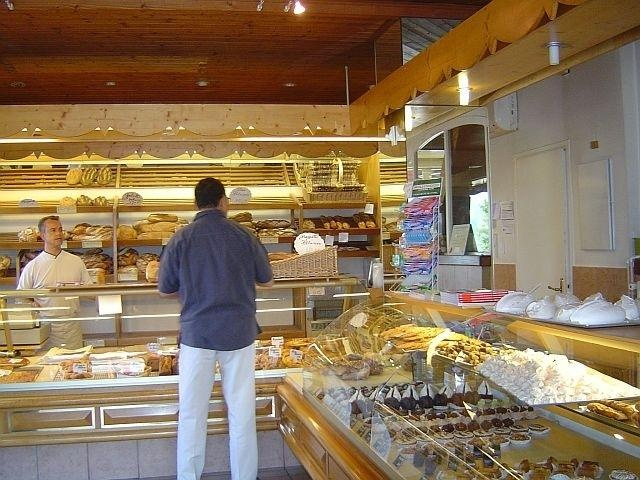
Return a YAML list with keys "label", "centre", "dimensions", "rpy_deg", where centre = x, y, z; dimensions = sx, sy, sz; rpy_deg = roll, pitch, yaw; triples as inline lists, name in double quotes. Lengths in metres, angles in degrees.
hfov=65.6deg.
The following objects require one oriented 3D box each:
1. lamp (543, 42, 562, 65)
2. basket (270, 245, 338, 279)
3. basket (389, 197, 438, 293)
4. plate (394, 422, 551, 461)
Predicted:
- label: "lamp"
  centre: [1.377, -1.097, 2.904]
  dimensions: [0.116, 0.088, 0.107]
  rpy_deg: [0, 0, 33]
- label: "basket"
  centre: [-0.132, 0.178, 3.930]
  dimensions: [0.521, 0.153, 0.267]
  rpy_deg: [0, -5, -6]
- label: "basket"
  centre: [0.674, 0.027, 3.579]
  dimensions: [0.230, 0.493, 0.405]
  rpy_deg: [-3, -1, -23]
- label: "plate"
  centre: [0.682, 0.849, 2.109]
  dimensions: [0.569, 0.096, 0.186]
  rpy_deg: [-2, -1, 13]
